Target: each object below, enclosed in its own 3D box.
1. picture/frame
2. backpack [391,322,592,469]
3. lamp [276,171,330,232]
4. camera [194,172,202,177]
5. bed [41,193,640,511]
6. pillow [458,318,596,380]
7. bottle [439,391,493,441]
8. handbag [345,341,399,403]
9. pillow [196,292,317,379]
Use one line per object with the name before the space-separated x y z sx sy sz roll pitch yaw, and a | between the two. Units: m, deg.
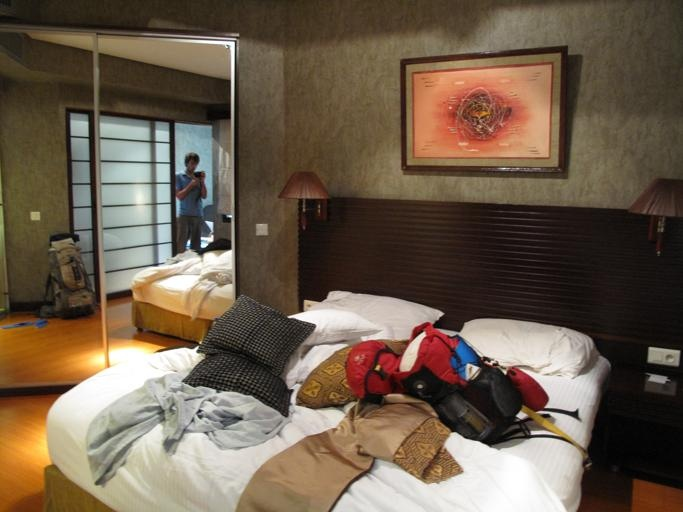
picture/frame | 1.066 -1.084 3.649 1.129 0.767 0.047 3 12 28
backpack | 0.664 0.712 2.590 0.877 0.334 0.611 22 14 2
lamp | -0.266 -0.415 4.162 0.505 0.474 0.474 0 -1 18
camera | -1.177 -0.669 4.139 0.058 0.049 0.016 -4 12 -21
bed | 0.099 0.543 3.100 2.004 0.872 1.416 3 6 32
pillow | 1.210 0.594 3.253 0.553 0.131 0.407 10 28 30
bottle | 0.612 0.805 2.514 0.238 0.177 0.073 42 0 18
handbag | 0.170 0.636 2.624 0.286 0.331 0.239 7 13 31
pillow | -0.430 0.499 3.154 0.816 0.179 0.847 1 9 45
